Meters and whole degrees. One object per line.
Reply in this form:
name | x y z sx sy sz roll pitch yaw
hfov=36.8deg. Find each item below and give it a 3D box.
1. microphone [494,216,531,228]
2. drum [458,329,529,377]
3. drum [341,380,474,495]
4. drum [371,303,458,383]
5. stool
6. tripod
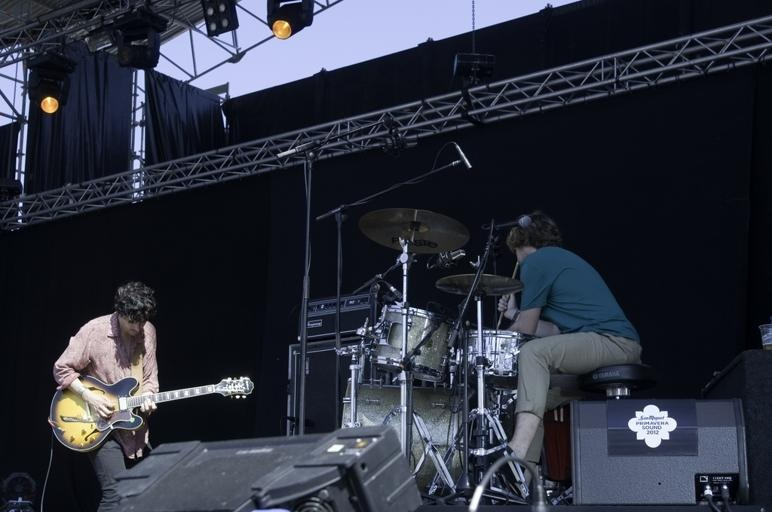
microphone | 1.205 -0.346 10.899 0.138 0.092 0.352 -11 -2 -37
drum | 1.039 0.896 10.860 0.556 0.428 0.618 -1 4 22
drum | 0.205 1.710 11.909 1.358 1.161 0.990 5 -32 -1
drum | 0.284 0.805 11.353 0.656 0.737 0.687 2 4 14
stool | 1.912 1.631 10.643 0.793 1.281 0.903 0 -3 26
tripod | 0.648 1.018 10.612 1.083 2.274 1.158 2 -2 -10
